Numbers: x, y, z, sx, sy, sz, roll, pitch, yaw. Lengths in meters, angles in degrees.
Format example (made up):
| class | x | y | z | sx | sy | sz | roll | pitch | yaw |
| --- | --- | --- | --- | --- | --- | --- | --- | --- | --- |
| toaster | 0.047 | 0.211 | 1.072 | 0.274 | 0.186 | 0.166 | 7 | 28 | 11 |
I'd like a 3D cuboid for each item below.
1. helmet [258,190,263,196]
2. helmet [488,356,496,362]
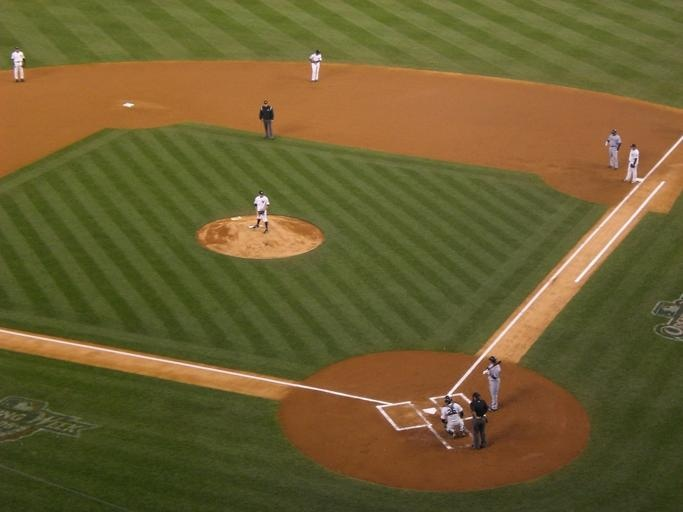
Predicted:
| class | x | y | z | sx | sy | sz | roll | pitch | yaw |
| --- | --- | --- | --- | --- | --- | --- | --- | --- | --- |
| helmet | -3.455 | -2.728 | 43.725 | 0.278 | 0.191 | 0.566 | -5 | 2 | -13 |
| helmet | 5.112 | 3.561 | 35.311 | 0.339 | 0.282 | 0.189 | -14 | 75 | 13 |
